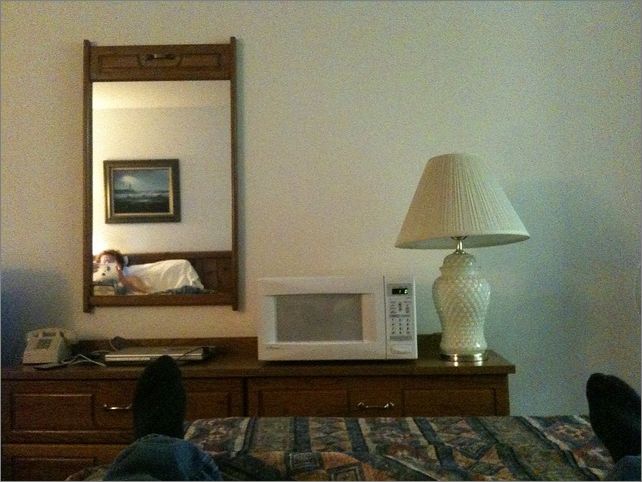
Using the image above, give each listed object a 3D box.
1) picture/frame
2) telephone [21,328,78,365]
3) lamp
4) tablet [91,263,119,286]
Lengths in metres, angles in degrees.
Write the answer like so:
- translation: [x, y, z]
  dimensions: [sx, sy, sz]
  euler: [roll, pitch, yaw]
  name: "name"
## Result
- translation: [-0.799, -0.220, 2.723]
  dimensions: [0.407, 0.278, 0.030]
  euler: [1, 4, 22]
  name: "picture/frame"
- translation: [-1.152, 0.437, 2.580]
  dimensions: [0.224, 0.109, 0.218]
  euler: [-7, 8, -34]
  name: "telephone"
- translation: [0.569, 0.054, 2.454]
  dimensions: [0.511, 0.809, 0.351]
  euler: [0, 8, 11]
  name: "lamp"
- translation: [-0.958, 0.151, 2.722]
  dimensions: [0.165, 0.090, 0.092]
  euler: [0, -8, -3]
  name: "tablet"
